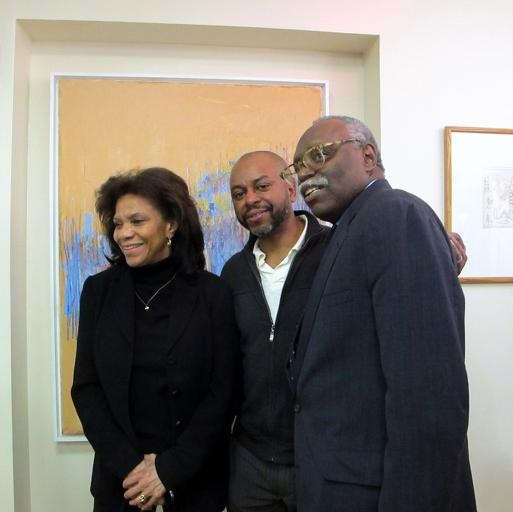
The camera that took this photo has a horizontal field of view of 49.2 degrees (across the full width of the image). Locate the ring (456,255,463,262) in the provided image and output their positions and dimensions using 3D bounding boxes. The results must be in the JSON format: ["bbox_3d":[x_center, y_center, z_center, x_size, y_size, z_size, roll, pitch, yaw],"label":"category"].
[{"bbox_3d":[0.816,0.006,2.266,0.020,0.017,0.021,1,4,0],"label":"ring"}]

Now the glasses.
[{"bbox_3d":[0.263,-0.384,2.103,0.168,0.053,0.169,-25,-6,-36],"label":"glasses"}]

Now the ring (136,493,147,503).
[{"bbox_3d":[-0.442,0.940,2.183,0.031,0.042,0.018,-4,1,-13],"label":"ring"}]
